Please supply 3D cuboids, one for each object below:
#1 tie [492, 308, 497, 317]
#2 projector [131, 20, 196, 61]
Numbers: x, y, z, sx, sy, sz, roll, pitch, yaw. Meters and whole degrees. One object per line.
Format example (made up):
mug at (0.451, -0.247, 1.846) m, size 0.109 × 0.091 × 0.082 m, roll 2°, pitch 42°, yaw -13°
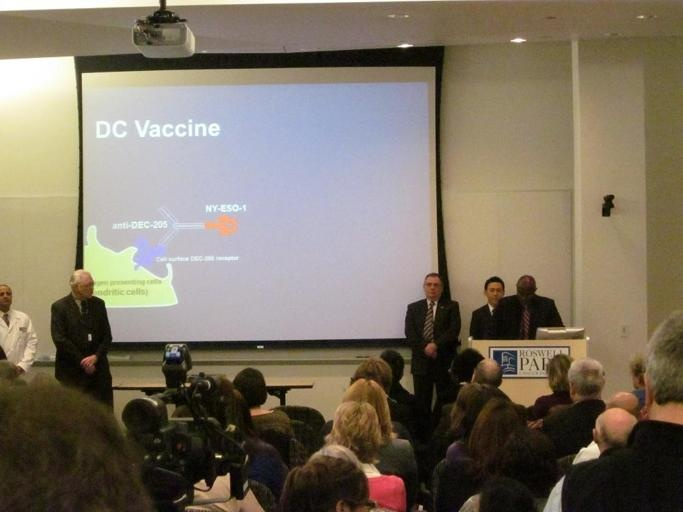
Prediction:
tie at (1.605, 0.588, 6.921) m, size 0.033 × 0.069 × 0.047 m, roll 5°, pitch -4°, yaw -44°
projector at (-1.355, -1.676, 5.077) m, size 0.416 × 0.266 × 0.265 m, roll -1°, pitch 0°, yaw 6°
